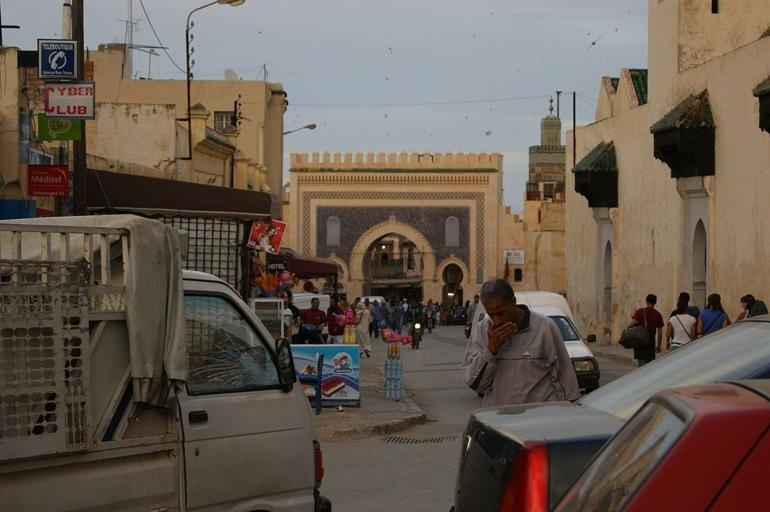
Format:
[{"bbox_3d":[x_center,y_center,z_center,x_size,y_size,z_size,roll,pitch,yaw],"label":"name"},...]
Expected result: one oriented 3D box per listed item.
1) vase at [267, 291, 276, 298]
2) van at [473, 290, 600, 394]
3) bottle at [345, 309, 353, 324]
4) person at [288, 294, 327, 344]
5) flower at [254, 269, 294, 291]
[{"bbox_3d":[-2.071,0.702,21.466,0.106,0.085,0.111,0,-7,-2],"label":"vase"},{"bbox_3d":[2.492,1.527,21.116,1.849,1.749,3.705,3,4,-13],"label":"van"},{"bbox_3d":[-0.875,1.497,29.298,0.263,0.468,0.246,-1,-6,0],"label":"bottle"},{"bbox_3d":[-1.554,1.363,23.987,0.663,1.081,0.536,5,-3,-28],"label":"person"},{"bbox_3d":[-2.111,0.461,22.206,0.383,0.259,0.427,-6,-5,-18],"label":"flower"}]
